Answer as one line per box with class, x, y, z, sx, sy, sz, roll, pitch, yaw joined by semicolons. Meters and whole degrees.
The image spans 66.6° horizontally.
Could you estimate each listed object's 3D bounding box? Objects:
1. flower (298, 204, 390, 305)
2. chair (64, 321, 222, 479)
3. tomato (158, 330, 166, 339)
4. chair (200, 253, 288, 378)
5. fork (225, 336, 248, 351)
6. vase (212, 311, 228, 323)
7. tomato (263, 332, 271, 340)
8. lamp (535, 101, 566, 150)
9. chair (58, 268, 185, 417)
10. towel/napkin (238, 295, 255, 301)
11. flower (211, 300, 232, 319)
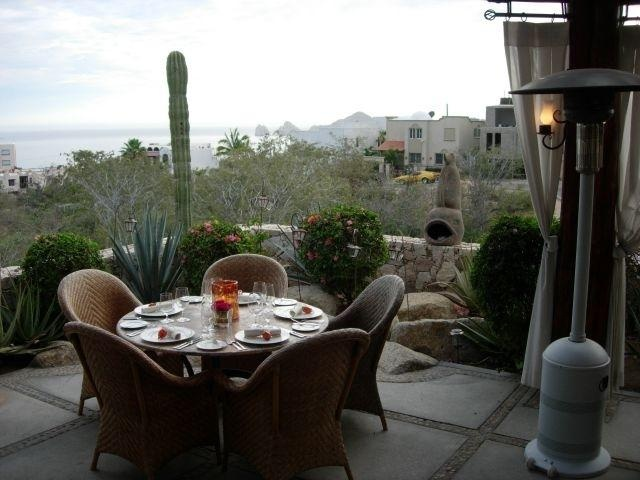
flower;0.279;0.299;6.258;1.067;1.608;1.292;-3;10;-3
chair;-1.059;0.938;2.877;0.796;0.992;0.399;2;11;10
tomato;-0.966;0.580;2.970;0.037;0.055;0.016;16;-15;-17
chair;-0.650;0.607;4.225;0.776;1.163;0.870;1;0;1
fork;-0.488;0.629;2.889;0.044;0.027;0.171;-6;17;-27
vase;-0.636;0.504;3.105;0.087;0.076;0.092;2;7;-1
tomato;-0.319;0.578;2.922;0.043;0.044;0.037;5;-4;-14
lamp;1.798;-0.874;3.758;0.207;0.358;0.274;5;12;24
chair;-1.499;0.784;3.672;0.758;0.973;0.716;3;7;29
towel/napkin;-0.557;0.437;3.654;0.070;0.034;0.085;1;-5;2
flower;-0.636;0.441;3.102;0.091;0.105;0.097;0;3;-5
